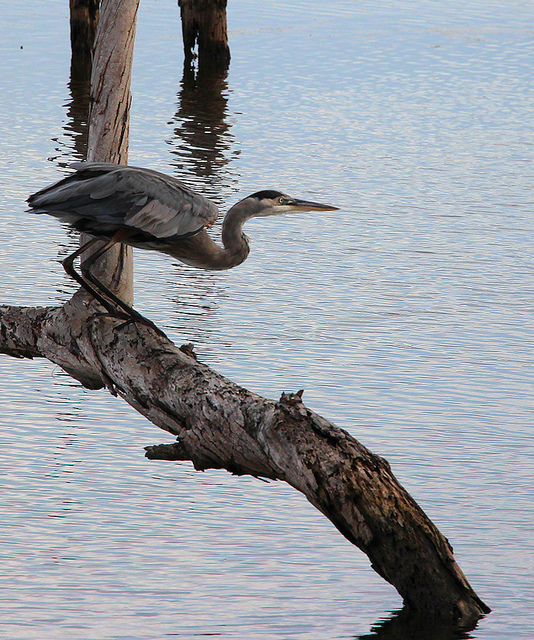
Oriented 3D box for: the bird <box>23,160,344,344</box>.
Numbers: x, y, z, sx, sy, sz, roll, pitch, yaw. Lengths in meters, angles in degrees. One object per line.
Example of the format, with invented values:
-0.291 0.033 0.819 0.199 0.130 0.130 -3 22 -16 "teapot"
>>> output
-0.602 -0.438 8.338 2.260 1.028 0.653 7 -10 -25 "bird"
